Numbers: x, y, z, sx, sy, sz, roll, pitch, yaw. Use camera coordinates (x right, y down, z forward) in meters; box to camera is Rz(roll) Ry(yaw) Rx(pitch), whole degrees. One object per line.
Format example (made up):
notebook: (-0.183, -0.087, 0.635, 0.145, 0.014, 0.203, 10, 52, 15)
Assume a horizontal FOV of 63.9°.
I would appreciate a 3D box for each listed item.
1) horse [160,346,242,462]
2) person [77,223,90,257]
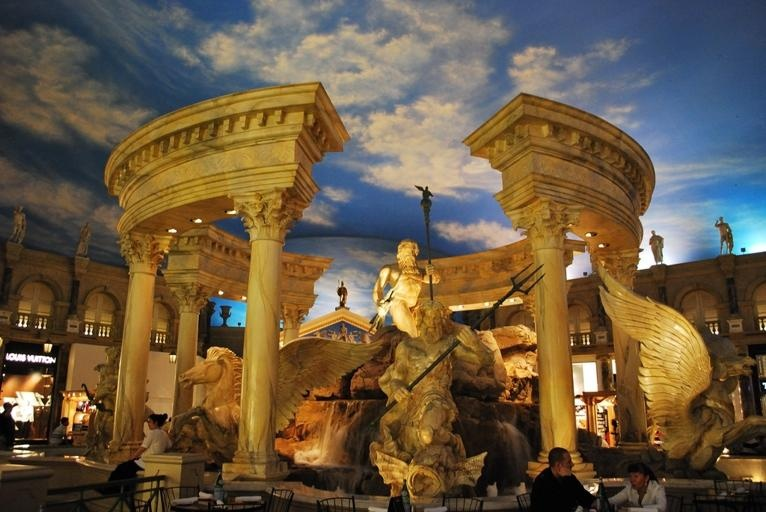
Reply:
horse: (-4.889, 4.203, 17.491, 1.828, 3.214, 1.057, 3, -21, -4)
person: (-16.250, -0.788, 33.546, 0.615, 1.783, 1.563, 12, -24, -26)
